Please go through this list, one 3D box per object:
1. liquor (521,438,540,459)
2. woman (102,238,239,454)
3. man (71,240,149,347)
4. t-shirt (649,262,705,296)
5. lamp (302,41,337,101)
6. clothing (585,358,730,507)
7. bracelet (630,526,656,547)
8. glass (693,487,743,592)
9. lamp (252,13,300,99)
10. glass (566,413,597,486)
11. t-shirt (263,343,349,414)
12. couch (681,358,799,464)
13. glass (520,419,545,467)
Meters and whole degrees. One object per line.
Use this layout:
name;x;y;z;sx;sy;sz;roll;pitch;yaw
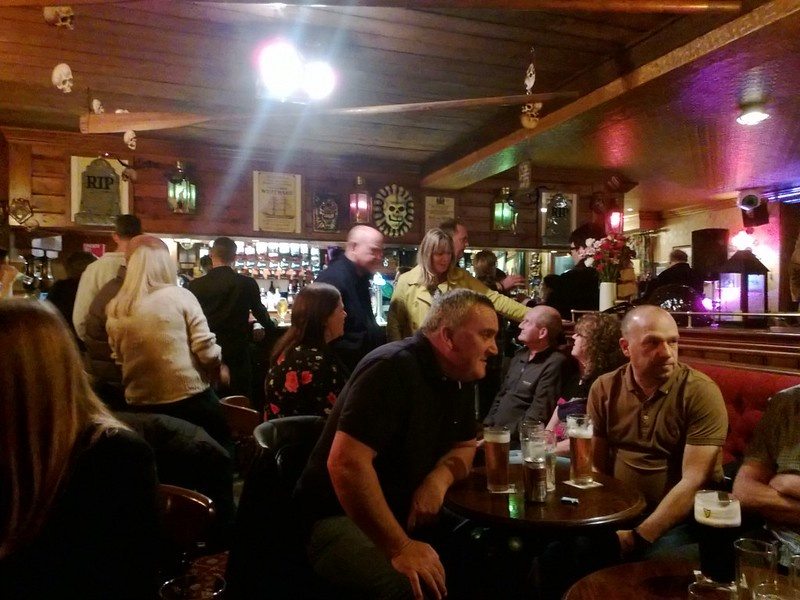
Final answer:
liquor;0.585;0.672;3.126;0.086;0.083;0.092;0;-6;7
woman;-1.348;0.427;4.238;0.718;1.537;0.878;-7;-6;8
man;-2.184;-0.040;5.046;0.257;0.696;0.576;19;-3;37
t-shirt;2.581;-0.207;6.453;0.410;0.163;0.412;5;8;41
lamp;-0.584;-1.603;4.860;0.211;0.347;0.307;0;4;-9
clothing;1.287;0.693;3.486;0.764;0.709;0.451;-4;-6;44
bracelet;1.144;1.129;3.266;0.092;0.043;0.070;9;-2;-33
glass;1.198;0.911;2.616;0.152;0.350;0.166;2;4;22
lamp;-0.855;-1.622;4.824;0.319;0.388;0.353;-1;4;-12
glass;0.854;0.723;3.330;0.151;0.332;0.142;10;-14;-38
t-shirt;-0.570;0.485;3.989;0.623;0.403;0.334;3;0;42
couch;1.816;0.614;3.676;0.209;0.297;0.634;13;1;-14
glass;0.621;0.673;3.194;0.146;0.211;0.137;-1;-11;5
